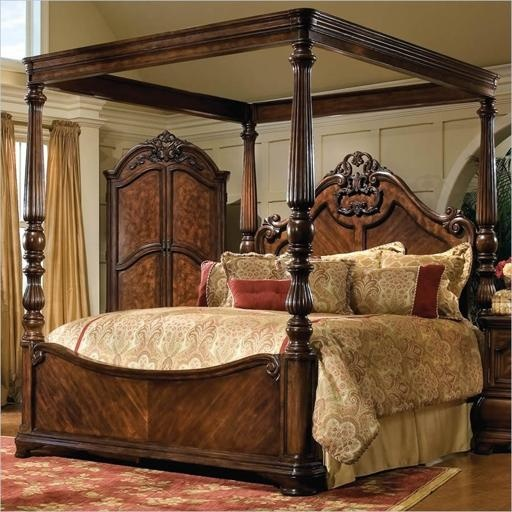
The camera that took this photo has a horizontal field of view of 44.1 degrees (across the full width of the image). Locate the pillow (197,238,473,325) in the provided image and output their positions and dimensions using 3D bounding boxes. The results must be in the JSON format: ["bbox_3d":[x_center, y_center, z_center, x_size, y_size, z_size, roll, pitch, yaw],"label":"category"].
[{"bbox_3d":[0.660,0.190,4.233,0.887,0.427,1.080,-1,-5,34],"label":"pillow"}]

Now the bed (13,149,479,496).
[{"bbox_3d":[0.236,0.280,3.939,2.163,1.553,2.141,-4,-5,37],"label":"bed"}]
